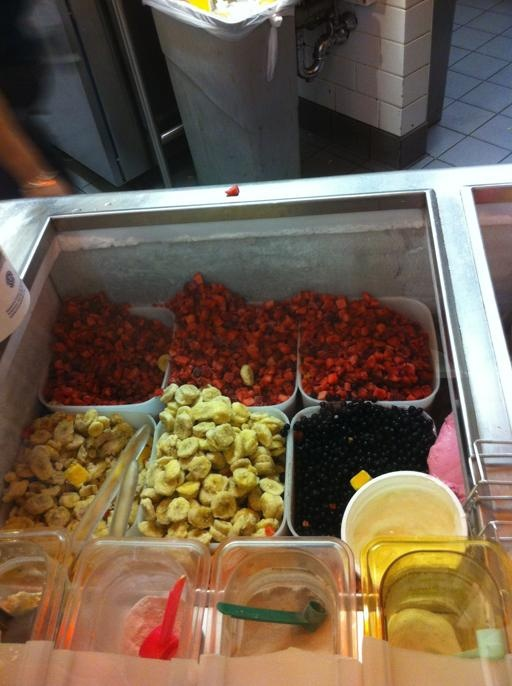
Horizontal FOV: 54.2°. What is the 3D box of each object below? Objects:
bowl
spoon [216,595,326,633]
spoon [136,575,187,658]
[{"bbox_3d":[0.191,0.217,0.655,0.109,0.112,0.143,14,-30,-21],"label":"bowl"},{"bbox_3d":[0.015,0.250,0.458,0.096,0.020,0.025,9,-30,-15],"label":"spoon"},{"bbox_3d":[-0.085,0.251,0.462,0.035,0.065,0.116,6,-28,-6],"label":"spoon"}]
